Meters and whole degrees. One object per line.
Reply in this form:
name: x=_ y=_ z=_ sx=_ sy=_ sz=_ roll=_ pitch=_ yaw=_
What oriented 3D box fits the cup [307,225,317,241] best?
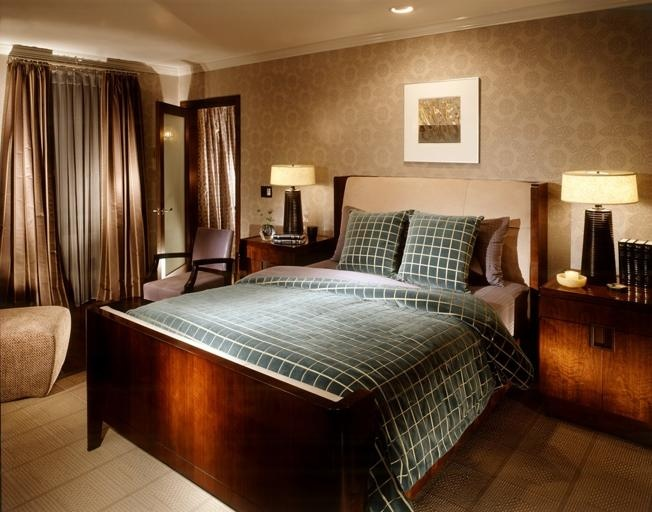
cup: x=-0.144 y=-0.236 z=4.970 sx=0.130 sy=0.171 sz=0.119 roll=1 pitch=7 yaw=0

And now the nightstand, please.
nightstand: x=-0.384 y=-0.181 z=4.909 sx=0.594 sy=0.616 sz=0.461 roll=6 pitch=9 yaw=43

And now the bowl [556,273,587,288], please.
bowl: x=1.656 y=0.162 z=3.229 sx=0.118 sy=0.064 sz=0.113 roll=-1 pitch=3 yaw=0

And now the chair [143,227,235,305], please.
chair: x=-1.194 y=0.102 z=4.636 sx=0.670 sy=1.048 sz=0.807 roll=4 pitch=5 yaw=34

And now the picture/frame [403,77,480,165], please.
picture/frame: x=1.040 y=-1.186 z=4.206 sx=0.730 sy=0.799 sz=0.051 roll=4 pitch=8 yaw=38
